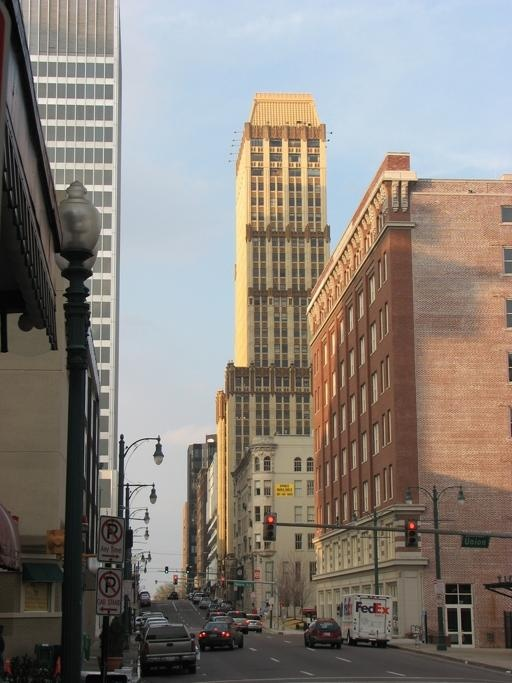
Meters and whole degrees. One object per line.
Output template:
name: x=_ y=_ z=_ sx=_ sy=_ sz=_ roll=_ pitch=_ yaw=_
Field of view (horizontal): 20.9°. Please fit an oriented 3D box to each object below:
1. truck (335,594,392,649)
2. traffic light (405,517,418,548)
truck: x=4.832 y=12.171 z=61.368 sx=1.528 sy=1.935 sz=3.044 roll=2 pitch=-11 yaw=-3
traffic light: x=5.594 y=6.821 z=50.405 sx=0.441 sy=1.202 sz=1.658 roll=-1 pitch=-19 yaw=5
